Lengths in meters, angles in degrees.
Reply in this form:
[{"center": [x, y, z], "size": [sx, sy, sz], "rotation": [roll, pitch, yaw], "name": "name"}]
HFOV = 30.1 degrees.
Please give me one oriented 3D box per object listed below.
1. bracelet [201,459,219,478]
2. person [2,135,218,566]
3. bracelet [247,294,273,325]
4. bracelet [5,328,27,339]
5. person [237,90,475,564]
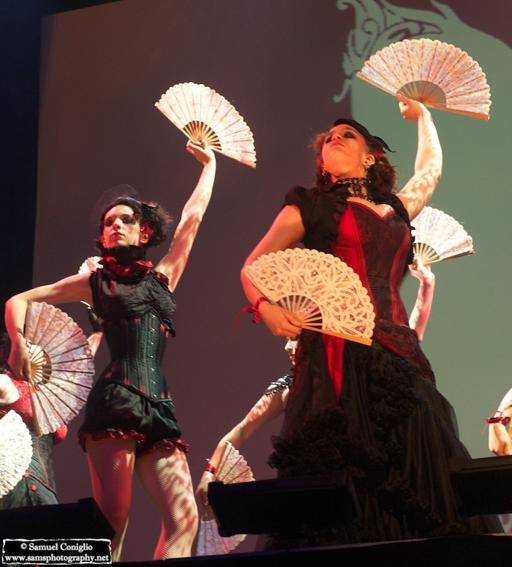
[{"center": [-0.176, 0.712, 3.678], "size": [0.051, 0.054, 0.049], "rotation": [13, 21, 32], "name": "bracelet"}, {"center": [-0.544, 0.194, 3.892], "size": [0.930, 1.781, 0.207], "rotation": [5, -20, 20], "name": "person"}, {"center": [0.005, 0.082, 3.400], "size": [0.102, 0.107, 0.039], "rotation": [-1, -37, 4], "name": "bracelet"}, {"center": [-0.997, 0.206, 3.951], "size": [0.090, 0.015, 0.005], "rotation": [11, -3, 15], "name": "bracelet"}, {"center": [0.407, 0.082, 3.341], "size": [0.779, 1.641, 0.437], "rotation": [-4, -25, 39], "name": "person"}]
